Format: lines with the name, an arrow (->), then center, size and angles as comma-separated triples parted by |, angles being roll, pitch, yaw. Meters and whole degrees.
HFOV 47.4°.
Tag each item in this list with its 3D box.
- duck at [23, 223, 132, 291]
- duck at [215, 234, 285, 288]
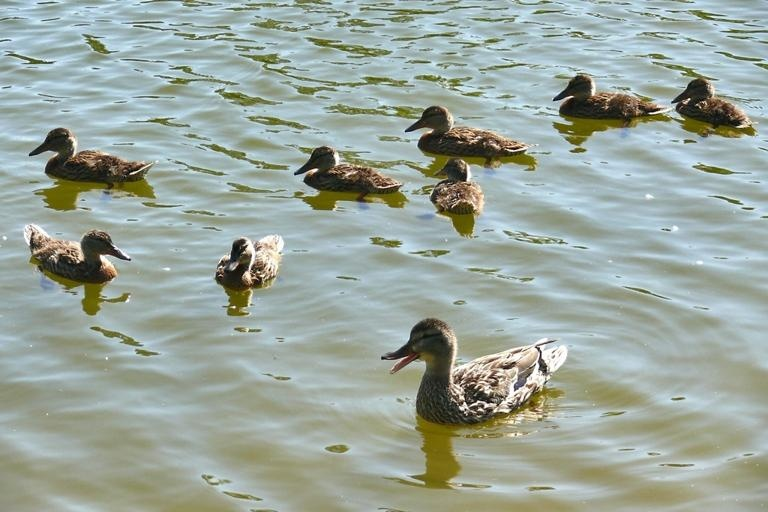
duck -> -5.083, -0.094, 14.626 | 2.273, 0.744, 0.871 | 20, 35, 24
duck -> -2.213, 0.000, 14.448 | 0.992, 0.761, 1.181 | 11, 34, 3
